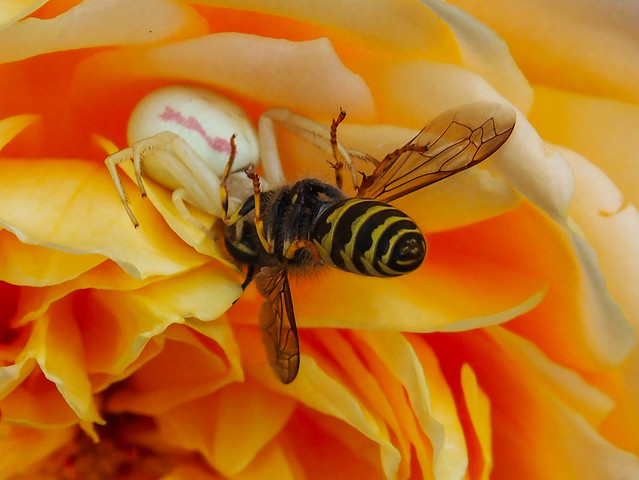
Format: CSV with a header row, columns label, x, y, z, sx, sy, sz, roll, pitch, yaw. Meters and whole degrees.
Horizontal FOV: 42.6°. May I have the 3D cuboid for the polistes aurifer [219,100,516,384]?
label,x,y,z,sx,sy,sz,roll,pitch,yaw
polistes aurifer,0.002,0.002,0.899,0.296,0.386,0.116,-52,127,-27
